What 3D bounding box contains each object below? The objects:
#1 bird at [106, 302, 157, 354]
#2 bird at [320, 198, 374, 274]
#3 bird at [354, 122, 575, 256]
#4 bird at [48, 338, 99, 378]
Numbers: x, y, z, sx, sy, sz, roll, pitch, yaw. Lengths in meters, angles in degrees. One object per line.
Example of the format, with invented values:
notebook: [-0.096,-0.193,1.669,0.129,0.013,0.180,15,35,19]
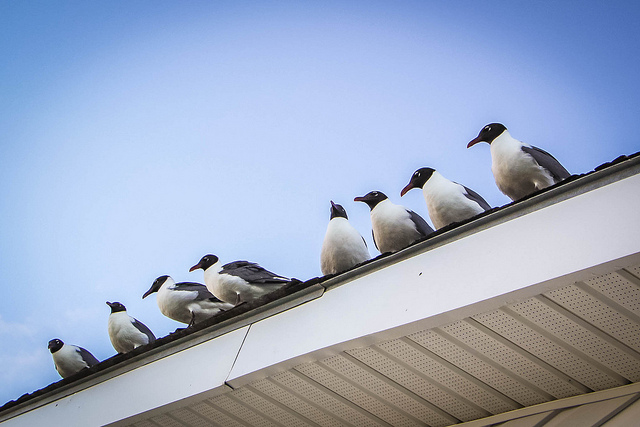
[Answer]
bird: [-2.355,1.391,8.293,0.485,0.504,0.277,-21,-12,-5]
bird: [0.225,0.285,5.876,0.289,0.484,0.474,-35,23,22]
bird: [1.253,-0.279,6.282,1.802,0.891,0.648,-25,-12,8]
bird: [-3.144,1.750,8.583,0.521,0.505,0.245,-22,-12,-3]
